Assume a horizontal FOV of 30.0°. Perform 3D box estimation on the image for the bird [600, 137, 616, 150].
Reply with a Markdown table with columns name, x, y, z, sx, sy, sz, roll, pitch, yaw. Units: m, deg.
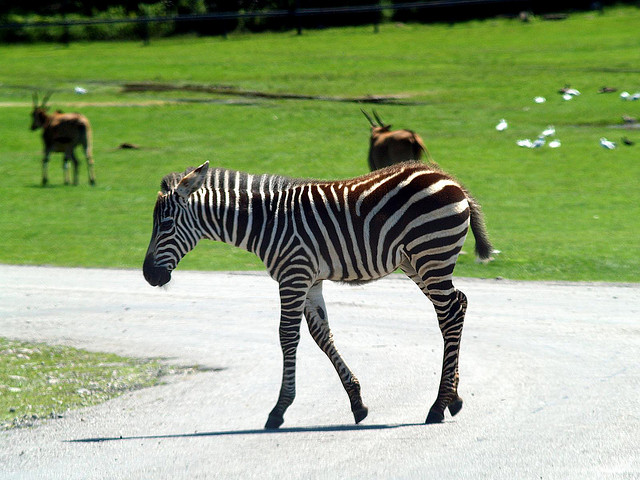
| name | x | y | z | sx | sy | sz | roll | pitch | yaw |
| --- | --- | --- | --- | --- | --- | --- | --- | --- | --- |
| bird | 9.125 | -3.110 | 37.803 | 0.321 | 0.188 | 0.446 | -22 | 32 | -5 |

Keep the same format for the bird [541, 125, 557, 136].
| name | x | y | z | sx | sy | sz | roll | pitch | yaw |
| --- | --- | --- | --- | --- | --- | --- | --- | --- | --- |
| bird | 7.669 | -3.695 | 39.745 | 0.423 | 0.160 | 0.440 | 2 | 22 | 32 |

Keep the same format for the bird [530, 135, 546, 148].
| name | x | y | z | sx | sy | sz | roll | pitch | yaw |
| --- | --- | --- | --- | --- | --- | --- | --- | --- | --- |
| bird | 7.118 | -3.263 | 38.813 | 0.254 | 0.324 | 0.845 | 43 | 23 | 8 |

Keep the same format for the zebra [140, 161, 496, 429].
| name | x | y | z | sx | sy | sz | roll | pitch | yaw |
| --- | --- | --- | --- | --- | --- | --- | --- | --- | --- |
| zebra | 0.337 | 0.862 | 22.689 | 7.805 | 4.725 | 2.042 | -2 | -5 | 22 |

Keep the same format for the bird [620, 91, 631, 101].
| name | x | y | z | sx | sy | sz | roll | pitch | yaw |
| --- | --- | --- | --- | --- | --- | --- | --- | --- | --- |
| bird | 10.816 | -5.153 | 42.271 | 0.370 | 0.228 | 0.667 | 4 | 13 | 12 |

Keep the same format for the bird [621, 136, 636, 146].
| name | x | y | z | sx | sy | sz | roll | pitch | yaw |
| --- | --- | --- | --- | --- | --- | --- | --- | --- | --- |
| bird | 9.726 | -3.197 | 37.823 | 0.302 | 0.111 | 0.327 | 8 | 22 | -3 |

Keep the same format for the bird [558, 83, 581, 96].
| name | x | y | z | sx | sy | sz | roll | pitch | yaw |
| --- | --- | --- | --- | --- | --- | --- | --- | --- | --- |
| bird | 9.204 | -5.598 | 43.959 | 0.677 | 0.325 | 0.422 | -5 | 1 | -41 |
